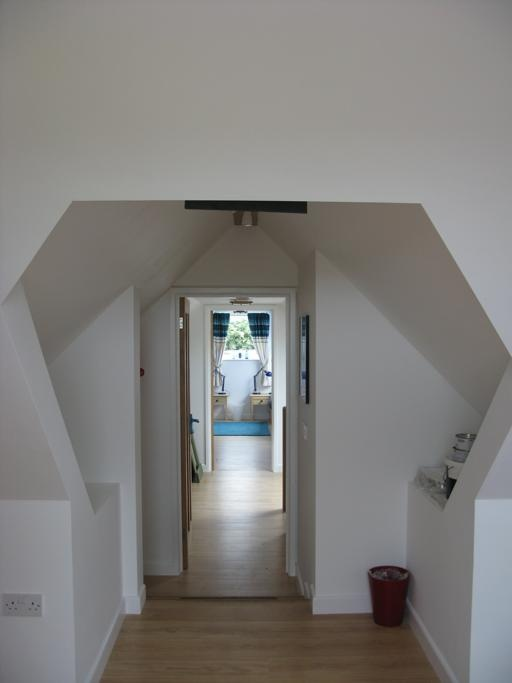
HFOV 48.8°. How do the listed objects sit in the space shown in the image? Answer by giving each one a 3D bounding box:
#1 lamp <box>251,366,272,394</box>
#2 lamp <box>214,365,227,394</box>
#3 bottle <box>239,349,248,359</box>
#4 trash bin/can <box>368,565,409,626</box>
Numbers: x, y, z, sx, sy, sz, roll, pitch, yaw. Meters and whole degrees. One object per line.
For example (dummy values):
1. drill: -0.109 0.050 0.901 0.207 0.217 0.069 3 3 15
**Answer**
1. lamp: 0.090 0.699 10.014 0.342 0.468 0.239 -2 -1 16
2. lamp: -0.651 0.694 10.042 0.213 0.465 0.169 -1 -1 -13
3. bottle: -0.234 0.241 10.193 0.195 0.174 0.099 -2 -1 -5
4. trash bin/can: 0.678 1.310 2.888 0.196 0.257 0.219 0 1 11
